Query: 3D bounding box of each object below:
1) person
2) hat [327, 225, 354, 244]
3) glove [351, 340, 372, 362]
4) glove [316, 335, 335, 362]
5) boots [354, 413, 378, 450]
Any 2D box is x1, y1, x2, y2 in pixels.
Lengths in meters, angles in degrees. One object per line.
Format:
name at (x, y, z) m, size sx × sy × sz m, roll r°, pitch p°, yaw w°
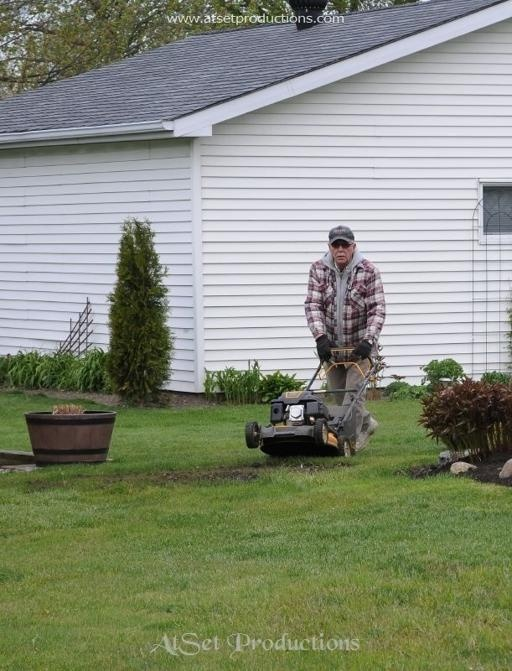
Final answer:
person at (0.727, 0.015, 11.239) m, size 0.627 × 1.801 × 0.895 m, roll -4°, pitch 8°, yaw 2°
hat at (0.671, -0.815, 11.002) m, size 0.138 × 0.116 × 0.204 m, roll -2°, pitch -6°, yaw 8°
glove at (0.835, 0.112, 10.948) m, size 0.147 × 0.172 × 0.249 m, roll -4°, pitch 8°, yaw 5°
glove at (0.537, 0.105, 10.964) m, size 0.115 × 0.208 × 0.277 m, roll -4°, pitch 8°, yaw 2°
boots at (0.885, 0.785, 11.353) m, size 0.113 × 0.099 × 0.356 m, roll 4°, pitch 36°, yaw 24°
